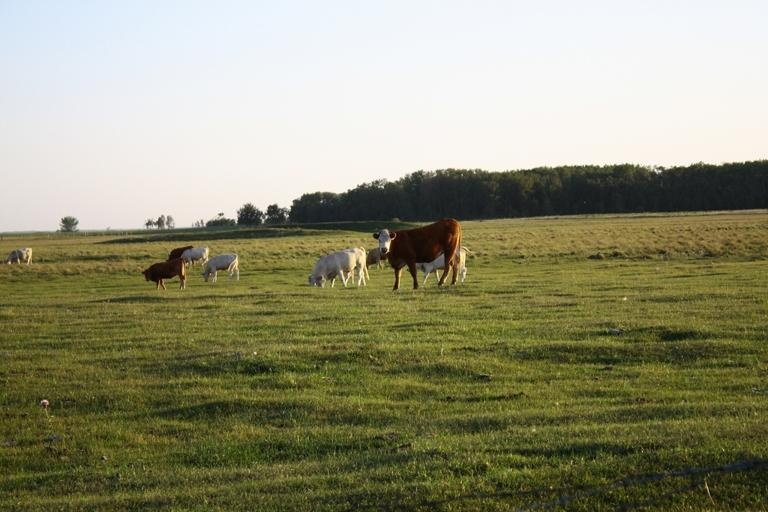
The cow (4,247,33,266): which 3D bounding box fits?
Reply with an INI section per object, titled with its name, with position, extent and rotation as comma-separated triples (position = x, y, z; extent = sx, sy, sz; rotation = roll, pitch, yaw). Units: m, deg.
[cow]
position = -22.098, -0.076, 57.492
extent = 1.232, 0.949, 3.652
rotation = -2, 1, -17
